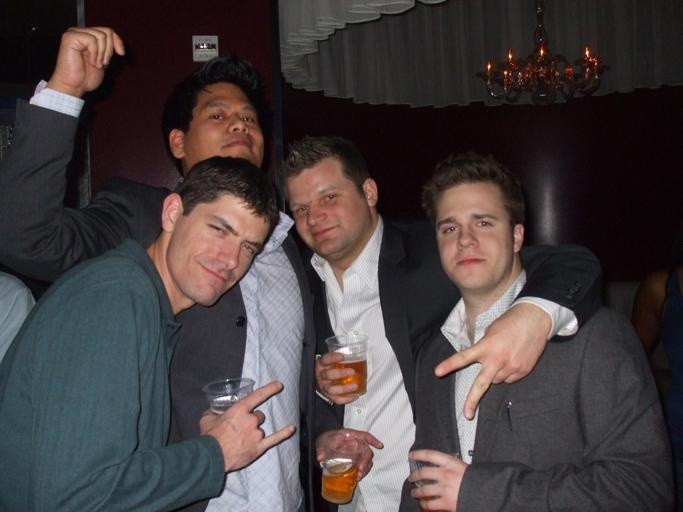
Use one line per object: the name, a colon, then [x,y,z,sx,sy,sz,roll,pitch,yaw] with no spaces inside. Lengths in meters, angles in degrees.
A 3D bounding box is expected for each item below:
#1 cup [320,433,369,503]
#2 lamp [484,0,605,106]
cup: [0.005,1.110,2.930,0.249,0.307,0.344,1,0,-3]
lamp: [2.102,-2.095,5.798,1.103,1.007,1.923,1,0,24]
